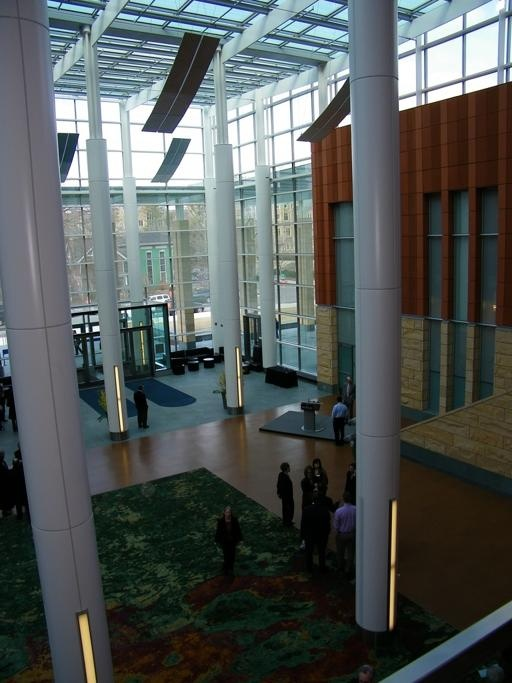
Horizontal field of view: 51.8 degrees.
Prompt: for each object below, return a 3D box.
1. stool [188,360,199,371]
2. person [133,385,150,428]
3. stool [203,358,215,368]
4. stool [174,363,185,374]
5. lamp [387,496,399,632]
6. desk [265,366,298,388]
[{"bbox_3d":[-3.017,1.144,25.294,0.485,0.352,0.475,-5,14,-23],"label":"stool"},{"bbox_3d":[-3.701,2.082,16.984,0.368,1.436,1.008,-5,8,-13],"label":"person"},{"bbox_3d":[-2.290,1.037,25.963,0.446,0.336,0.460,5,7,36],"label":"stool"},{"bbox_3d":[-3.645,1.282,24.805,0.524,0.501,0.480,-3,8,0],"label":"stool"},{"bbox_3d":[1.643,2.721,6.425,0.130,1.817,0.319,-1,8,13],"label":"lamp"},{"bbox_3d":[1.036,1.465,21.691,0.677,0.718,1.335,-9,10,-40],"label":"desk"}]
